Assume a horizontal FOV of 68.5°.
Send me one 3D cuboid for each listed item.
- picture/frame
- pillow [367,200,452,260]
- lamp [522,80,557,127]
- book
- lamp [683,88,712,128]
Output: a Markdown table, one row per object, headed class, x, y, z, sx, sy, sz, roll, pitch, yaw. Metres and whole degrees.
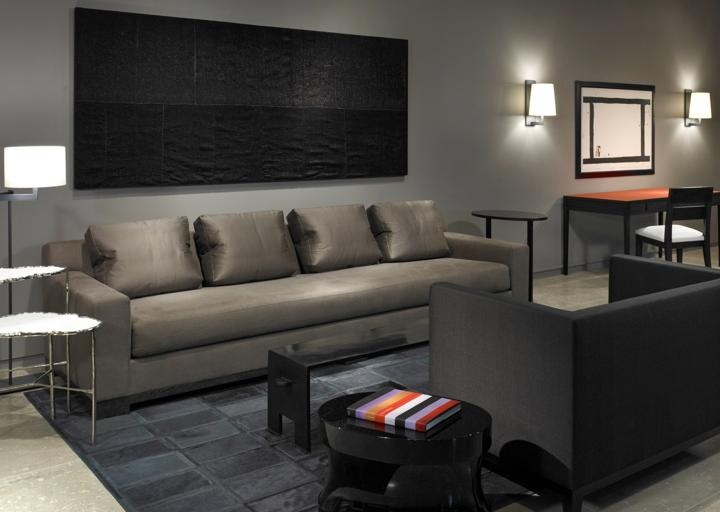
| class | x | y | z | sx | sy | sz | roll | pitch | yaw |
| --- | --- | --- | --- | --- | --- | --- | --- | --- | --- |
| picture/frame | 3.010 | -1.543 | 6.316 | 1.246 | 1.161 | 0.053 | -6 | 7 | -26 |
| pillow | 0.430 | -0.154 | 4.791 | 0.943 | 0.623 | 0.467 | -4 | 8 | -28 |
| lamp | 1.908 | -1.642 | 5.661 | 0.295 | 0.489 | 0.340 | -1 | 11 | 2 |
| book | 0.174 | 0.606 | 2.093 | 0.384 | 0.044 | 0.272 | 5 | 12 | 27 |
| lamp | 4.464 | -1.952 | 6.943 | 0.428 | 0.480 | 0.280 | -7 | 13 | -30 |
